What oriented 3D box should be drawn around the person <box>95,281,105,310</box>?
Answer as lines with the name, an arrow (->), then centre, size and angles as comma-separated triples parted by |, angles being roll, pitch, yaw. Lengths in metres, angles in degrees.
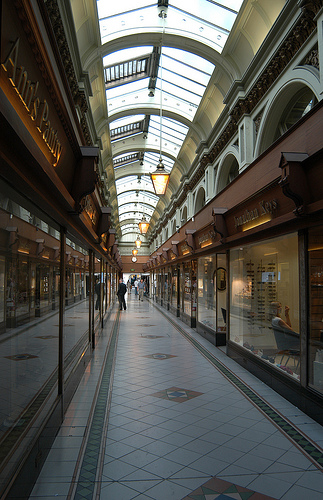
person -> -2.370, 1.810, 10.082 | 0.247, 1.076, 1.674 | 3, -13, -13
